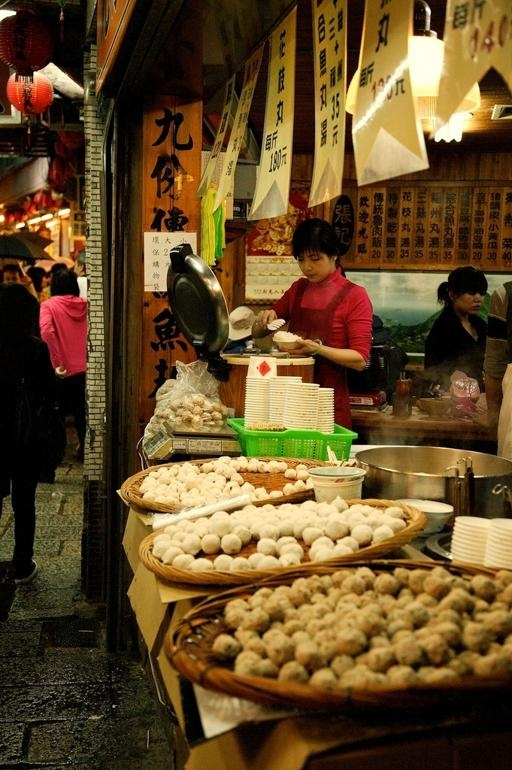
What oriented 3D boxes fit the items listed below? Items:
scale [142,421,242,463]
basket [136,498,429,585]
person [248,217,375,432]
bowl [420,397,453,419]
[{"bbox_3d":[-0.373,0.271,3.103,0.469,0.181,0.581,-4,6,-19],"label":"scale"},{"bbox_3d":[0.036,0.410,1.554,0.588,0.178,0.405,-2,10,-36],"label":"basket"},{"bbox_3d":[0.399,-0.524,4.057,0.623,1.840,0.650,2,3,33],"label":"person"},{"bbox_3d":[1.592,0.177,5.105,0.214,0.122,0.217,0,4,0],"label":"bowl"}]
